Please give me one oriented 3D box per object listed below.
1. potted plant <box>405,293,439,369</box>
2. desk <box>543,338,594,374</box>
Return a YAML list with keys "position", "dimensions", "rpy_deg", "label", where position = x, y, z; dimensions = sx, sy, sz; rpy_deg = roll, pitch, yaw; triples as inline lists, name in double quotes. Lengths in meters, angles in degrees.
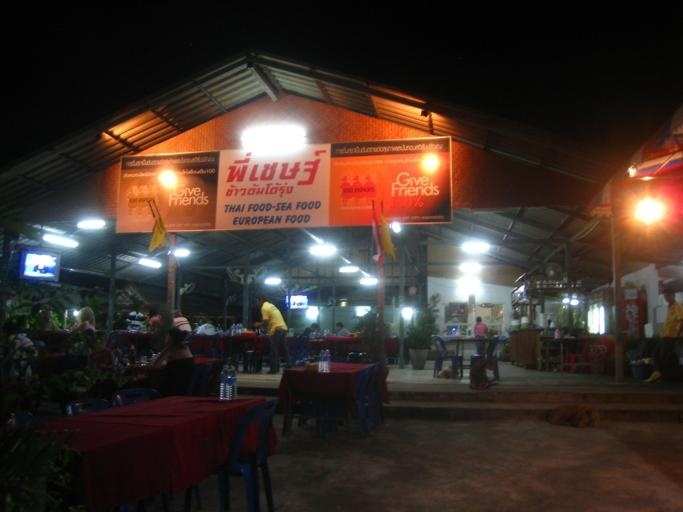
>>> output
- position: [2.459, 2.492, 16.961]
  dimensions: [0.965, 1.969, 1.414]
  rpy_deg: [-1, -11, 7]
  label: "potted plant"
- position: [6.409, 2.794, 15.695]
  dimensions: [1.383, 1.011, 1.742]
  rpy_deg: [-2, -11, 10]
  label: "desk"
